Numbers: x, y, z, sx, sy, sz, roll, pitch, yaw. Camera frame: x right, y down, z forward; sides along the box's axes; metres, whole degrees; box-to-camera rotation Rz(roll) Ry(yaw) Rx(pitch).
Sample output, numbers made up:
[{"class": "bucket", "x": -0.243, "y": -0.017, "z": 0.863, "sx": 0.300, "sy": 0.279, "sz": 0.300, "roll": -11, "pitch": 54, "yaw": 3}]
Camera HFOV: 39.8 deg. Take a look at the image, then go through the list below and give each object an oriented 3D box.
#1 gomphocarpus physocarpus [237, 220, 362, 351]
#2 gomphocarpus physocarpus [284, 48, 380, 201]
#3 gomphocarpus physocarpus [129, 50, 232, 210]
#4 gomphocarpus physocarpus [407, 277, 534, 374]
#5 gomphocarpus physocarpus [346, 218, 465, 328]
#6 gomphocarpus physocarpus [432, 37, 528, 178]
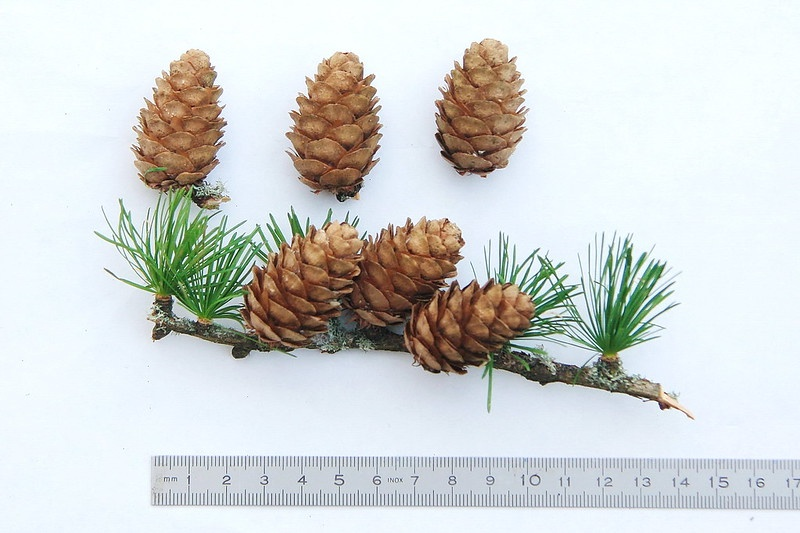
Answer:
[{"class": "gomphocarpus physocarpus", "x": -0.288, "y": 0.052, "z": 3.337, "sx": 0.255, "sy": 0.232, "sz": 0.421, "roll": 37, "pitch": 81, "yaw": 24}, {"class": "gomphocarpus physocarpus", "x": -0.200, "y": -0.420, "z": 3.444, "sx": 0.280, "sy": 0.383, "sz": 0.297, "roll": 5, "pitch": 45, "yaw": 11}, {"class": "gomphocarpus physocarpus", "x": -0.673, "y": -0.454, "z": 3.487, "sx": 0.312, "sy": 0.494, "sz": 0.335, "roll": 12, "pitch": 31, "yaw": 13}, {"class": "gomphocarpus physocarpus", "x": 0.203, "y": 0.161, "z": 3.326, "sx": 0.371, "sy": 0.222, "sz": 0.224, "roll": -24, "pitch": 41, "yaw": 9}, {"class": "gomphocarpus physocarpus", "x": 0.036, "y": -0.020, "z": 3.341, "sx": 0.346, "sy": 0.236, "sz": 0.217, "roll": -17, "pitch": 1, "yaw": 2}, {"class": "gomphocarpus physocarpus", "x": 0.252, "y": -0.478, "z": 3.536, "sx": 0.284, "sy": 0.269, "sz": 0.425, "roll": 4, "pitch": 88, "yaw": 2}]
